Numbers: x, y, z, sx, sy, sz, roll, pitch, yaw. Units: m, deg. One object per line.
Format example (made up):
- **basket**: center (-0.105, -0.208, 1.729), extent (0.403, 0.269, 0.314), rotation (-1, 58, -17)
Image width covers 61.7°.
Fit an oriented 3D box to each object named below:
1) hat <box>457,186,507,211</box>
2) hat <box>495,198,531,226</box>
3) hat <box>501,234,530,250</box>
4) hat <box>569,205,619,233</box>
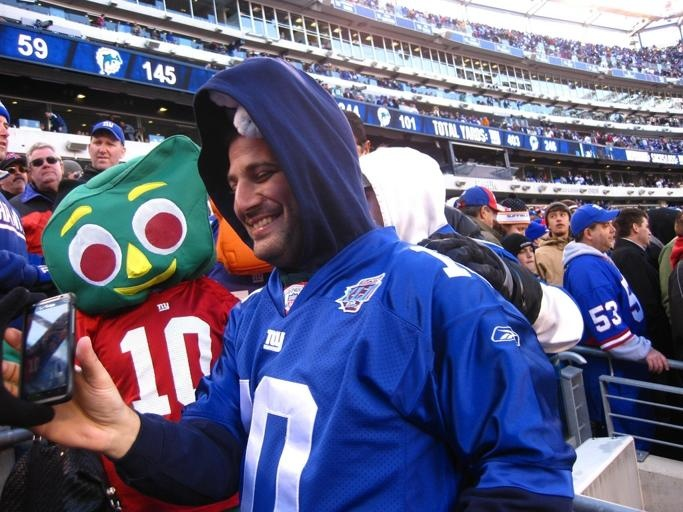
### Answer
- **hat**: center (1.041, -0.410, 4.157), extent (0.306, 0.160, 0.192), rotation (13, 5, -22)
- **hat**: center (1.731, -0.471, 5.838), extent (0.412, 0.329, 0.294), rotation (4, -6, -9)
- **hat**: center (1.337, -0.105, 4.378), extent (0.130, 0.125, 0.153), rotation (-28, -17, 2)
- **hat**: center (1.929, -0.299, 4.432), extent (0.313, 0.177, 0.206), rotation (-30, 8, 18)
